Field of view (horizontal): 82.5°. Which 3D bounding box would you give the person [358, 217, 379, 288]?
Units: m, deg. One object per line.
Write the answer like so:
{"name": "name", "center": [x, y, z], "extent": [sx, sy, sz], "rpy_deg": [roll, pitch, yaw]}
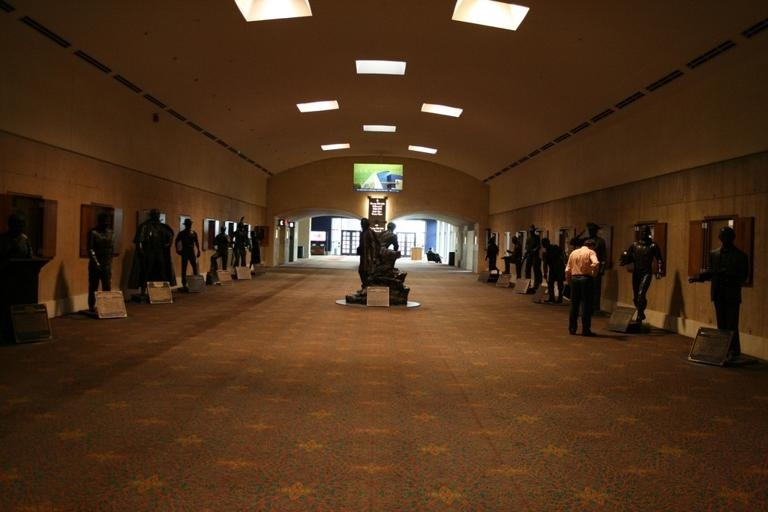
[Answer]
{"name": "person", "center": [-0.512, -0.074, 13.100], "extent": [0.602, 2.089, 0.513], "rpy_deg": [3, 3, 38]}

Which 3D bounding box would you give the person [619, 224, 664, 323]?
{"name": "person", "center": [6.028, 0.412, 10.193], "extent": [0.813, 2.263, 1.415], "rpy_deg": [3, 3, 33]}

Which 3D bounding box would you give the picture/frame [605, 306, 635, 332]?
{"name": "picture/frame", "center": [5.385, 1.455, 9.933], "extent": [0.061, 0.431, 0.557], "rpy_deg": [24, -8, -11]}

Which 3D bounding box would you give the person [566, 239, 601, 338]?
{"name": "person", "center": [4.259, 0.682, 9.230], "extent": [0.514, 1.946, 0.722], "rpy_deg": [7, -6, -33]}

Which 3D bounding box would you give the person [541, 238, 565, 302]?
{"name": "person", "center": [5.386, 0.480, 13.939], "extent": [0.680, 2.054, 1.171], "rpy_deg": [2, 3, 21]}
